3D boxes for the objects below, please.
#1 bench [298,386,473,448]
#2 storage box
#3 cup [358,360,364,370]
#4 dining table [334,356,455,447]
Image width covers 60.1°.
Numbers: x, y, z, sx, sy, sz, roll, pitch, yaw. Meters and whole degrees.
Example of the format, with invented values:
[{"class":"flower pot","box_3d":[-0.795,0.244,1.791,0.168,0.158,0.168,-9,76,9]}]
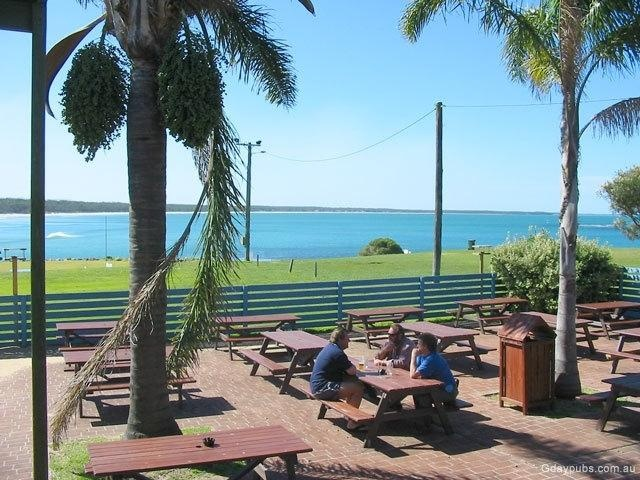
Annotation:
[{"class":"bench","box_3d":[1.172,2.592,8.728,1.208,0.520,1.354,-4,4,-26]},{"class":"storage box","box_3d":[3.691,2.136,9.902,0.838,1.691,0.702,-1,3,-28]},{"class":"cup","box_3d":[0.747,2.183,9.806,0.117,0.136,0.121,0,-4,0]},{"class":"dining table","box_3d":[1.260,2.487,8.807,1.119,0.598,1.239,0,-2,-21]}]
